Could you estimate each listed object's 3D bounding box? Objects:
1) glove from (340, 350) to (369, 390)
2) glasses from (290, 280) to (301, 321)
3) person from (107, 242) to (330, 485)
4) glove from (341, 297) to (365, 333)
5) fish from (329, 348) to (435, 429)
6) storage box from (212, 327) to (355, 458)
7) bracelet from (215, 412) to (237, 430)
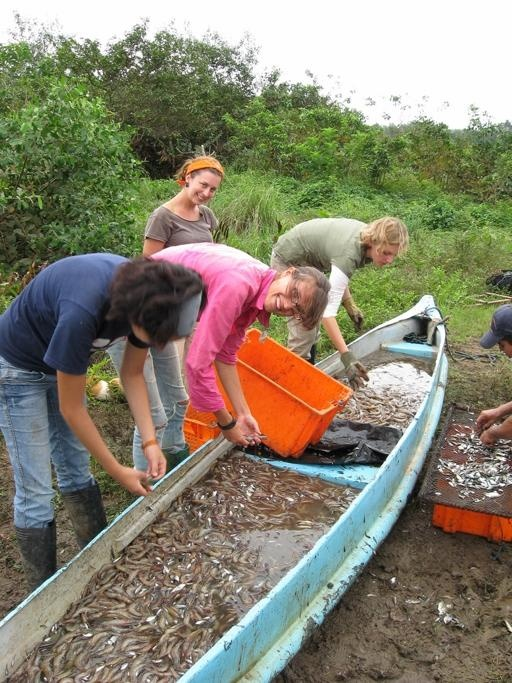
[{"bbox_3d":[0.788,0.229,4.553,0.223,0.311,0.121,-24,-5,-11],"label":"glove"},{"bbox_3d":[0.211,-0.223,2.952,0.044,0.130,0.133,4,28,-11],"label":"glasses"},{"bbox_3d":[-0.224,-0.035,3.177,1.187,1.056,0.564,16,14,18],"label":"person"},{"bbox_3d":[0.987,-0.284,5.763,0.236,0.326,0.145,-22,-5,-36],"label":"glove"},{"bbox_3d":[1.289,0.425,5.293,0.510,0.120,0.895,11,25,23],"label":"fish"},{"bbox_3d":[0.186,0.418,4.191,0.800,0.392,0.582,35,28,24],"label":"storage box"},{"bbox_3d":[-0.181,0.459,3.256,0.105,0.074,0.126,-2,15,-2],"label":"bracelet"}]
